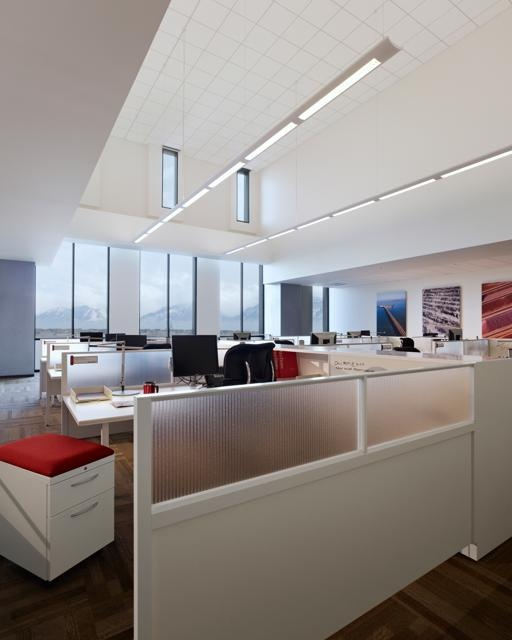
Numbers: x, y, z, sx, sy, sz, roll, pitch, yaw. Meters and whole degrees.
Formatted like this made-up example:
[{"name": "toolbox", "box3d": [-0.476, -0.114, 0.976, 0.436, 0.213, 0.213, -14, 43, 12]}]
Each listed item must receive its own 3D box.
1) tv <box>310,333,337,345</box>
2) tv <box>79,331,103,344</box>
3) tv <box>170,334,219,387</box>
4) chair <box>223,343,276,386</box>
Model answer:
[{"name": "tv", "box3d": [0.948, 0.257, 6.491, 0.344, 0.168, 0.374, 0, 9, 3]}, {"name": "tv", "box3d": [-2.867, 0.284, 7.981, 0.398, 0.180, 1.116, -4, 10, -20]}, {"name": "tv", "box3d": [-0.491, 0.321, 3.647, 0.433, 0.454, 0.152, 1, -4, -35]}, {"name": "chair", "box3d": [-0.081, 0.329, 3.930, 0.363, 0.516, 0.376, 0, 1, -34]}]
